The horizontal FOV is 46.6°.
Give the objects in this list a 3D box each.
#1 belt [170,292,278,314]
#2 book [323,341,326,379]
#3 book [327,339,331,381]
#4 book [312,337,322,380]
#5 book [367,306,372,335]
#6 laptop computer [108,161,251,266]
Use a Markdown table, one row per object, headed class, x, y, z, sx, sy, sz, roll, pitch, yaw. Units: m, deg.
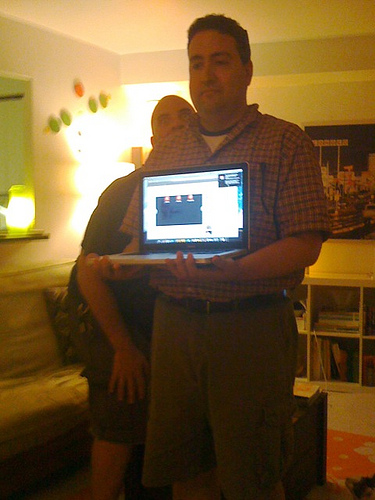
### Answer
| class | x | y | z | sx | sy | sz | roll | pitch | yaw |
| --- | --- | --- | --- | --- | --- | --- | --- | --- | --- |
| belt | 0.063 | 0.105 | 0.877 | 0.225 | 0.030 | 0.078 | -1 | 8 | 13 |
| book | 0.968 | 0.755 | 3.081 | 0.018 | 0.222 | 0.033 | -1 | 9 | 16 |
| book | 0.994 | 0.772 | 3.067 | 0.024 | 0.283 | 0.067 | 0 | 9 | 18 |
| book | 0.911 | 0.767 | 3.084 | 0.052 | 0.287 | 0.051 | 2 | 9 | 30 |
| book | 1.232 | 0.477 | 2.956 | 0.029 | 0.189 | 0.029 | 0 | 9 | 23 |
| laptop computer | -0.026 | -0.070 | 0.853 | 0.274 | 0.181 | 0.171 | -1 | 8 | 27 |
